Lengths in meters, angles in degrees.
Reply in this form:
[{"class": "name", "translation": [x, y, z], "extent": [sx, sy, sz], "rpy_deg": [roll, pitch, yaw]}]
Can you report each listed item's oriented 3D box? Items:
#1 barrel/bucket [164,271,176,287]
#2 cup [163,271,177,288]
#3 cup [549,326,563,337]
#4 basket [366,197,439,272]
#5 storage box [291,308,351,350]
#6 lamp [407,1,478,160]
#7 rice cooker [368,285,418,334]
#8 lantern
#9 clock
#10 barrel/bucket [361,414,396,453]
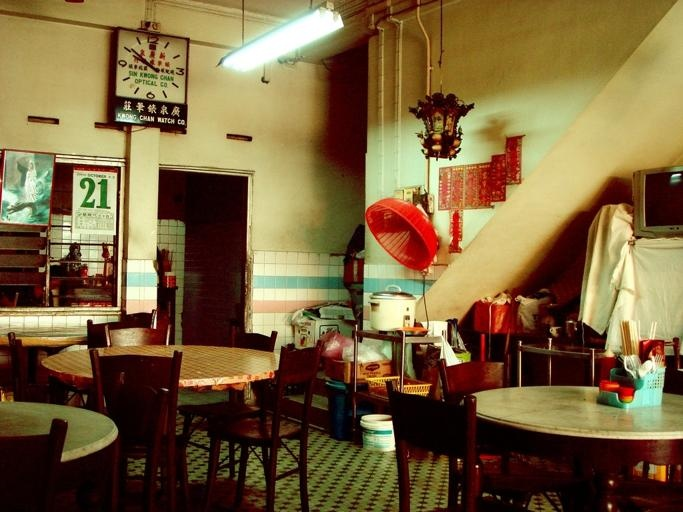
[{"class": "barrel/bucket", "translation": [-2.597, 0.347, 9.443], "extent": [0.216, 0.303, 0.217], "rpy_deg": [2, 4, 0]}, {"class": "cup", "translation": [-2.573, 0.361, 9.445], "extent": [0.207, 0.221, 0.203], "rpy_deg": [3, 4, 0]}, {"class": "cup", "translation": [2.017, 0.722, 5.978], "extent": [0.100, 0.078, 0.077], "rpy_deg": [-2, -3, 32]}, {"class": "basket", "translation": [0.585, -0.239, 6.137], "extent": [0.346, 0.629, 0.764], "rpy_deg": [-38, 39, -12]}, {"class": "storage box", "translation": [-0.308, 0.879, 7.770], "extent": [0.562, 0.526, 0.624], "rpy_deg": [3, 0, -35]}, {"class": "lamp", "translation": [0.908, -1.417, 5.995], "extent": [0.582, 1.691, 0.595], "rpy_deg": [0, -2, 32]}, {"class": "rice cooker", "translation": [0.476, 0.489, 5.995], "extent": [0.589, 0.413, 0.459], "rpy_deg": [1, 3, -20]}, {"class": "lantern", "translation": [0.935, -1.142, 6.021], "extent": [0.608, 0.704, 0.740], "rpy_deg": [0, 1, 17]}, {"class": "clock", "translation": [-2.099, -1.934, 6.958], "extent": [0.874, 1.007, 0.189], "rpy_deg": [2, 0, -36]}, {"class": "barrel/bucket", "translation": [0.346, 1.610, 5.688], "extent": [0.343, 0.267, 0.355], "rpy_deg": [2, -7, 0]}]
